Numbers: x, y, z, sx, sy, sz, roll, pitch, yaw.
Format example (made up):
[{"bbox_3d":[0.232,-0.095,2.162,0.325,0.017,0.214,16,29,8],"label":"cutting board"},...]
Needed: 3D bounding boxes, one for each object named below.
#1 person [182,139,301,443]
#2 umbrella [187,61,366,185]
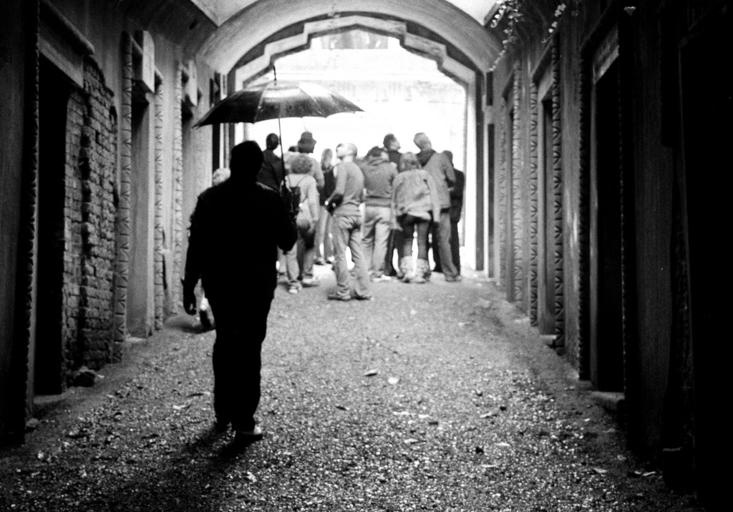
[{"bbox_3d":[-1.081,0.293,6.046,0.947,2.522,0.484,-1,6,-14],"label":"person"},{"bbox_3d":[-0.970,-1.840,8.594,1.612,1.535,1.669,-11,8,-1],"label":"umbrella"}]
